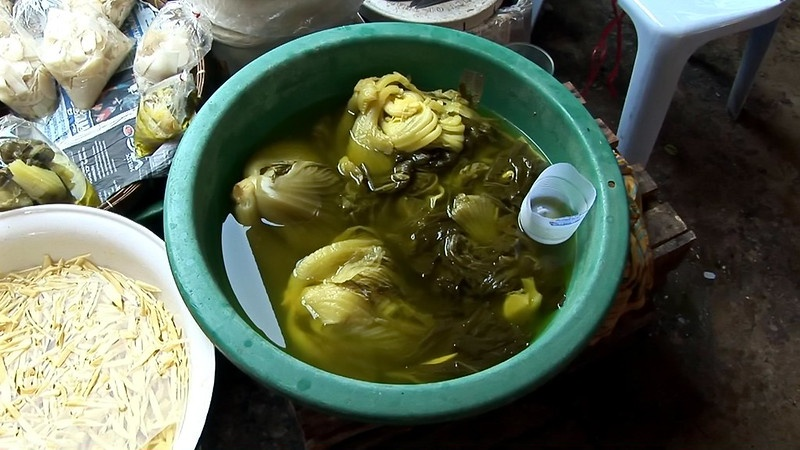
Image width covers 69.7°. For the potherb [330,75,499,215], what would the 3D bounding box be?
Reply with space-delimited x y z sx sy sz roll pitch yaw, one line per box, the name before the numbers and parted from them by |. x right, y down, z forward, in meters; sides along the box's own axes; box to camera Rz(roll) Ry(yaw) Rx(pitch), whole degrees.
potherb | 0.023 -0.363 2.264 0.474 0.238 0.557 38 76 12

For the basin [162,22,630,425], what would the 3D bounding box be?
basin | -0.008 -0.064 2.102 1.650 0.274 1.486 16 68 8

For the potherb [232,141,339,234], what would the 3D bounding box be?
potherb | -0.429 -0.133 2.211 0.313 0.098 0.313 -34 77 -10

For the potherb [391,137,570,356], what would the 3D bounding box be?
potherb | 0.298 0.099 2.160 0.627 0.251 0.739 1 72 1

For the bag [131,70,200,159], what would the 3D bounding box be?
bag | -1.028 -0.476 2.535 0.408 0.250 0.226 -57 45 21

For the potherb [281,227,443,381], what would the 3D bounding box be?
potherb | -0.167 0.348 2.095 0.491 0.110 0.579 -33 70 -13

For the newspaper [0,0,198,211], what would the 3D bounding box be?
newspaper | -1.369 -0.430 2.693 0.901 0.213 0.921 -21 74 13
